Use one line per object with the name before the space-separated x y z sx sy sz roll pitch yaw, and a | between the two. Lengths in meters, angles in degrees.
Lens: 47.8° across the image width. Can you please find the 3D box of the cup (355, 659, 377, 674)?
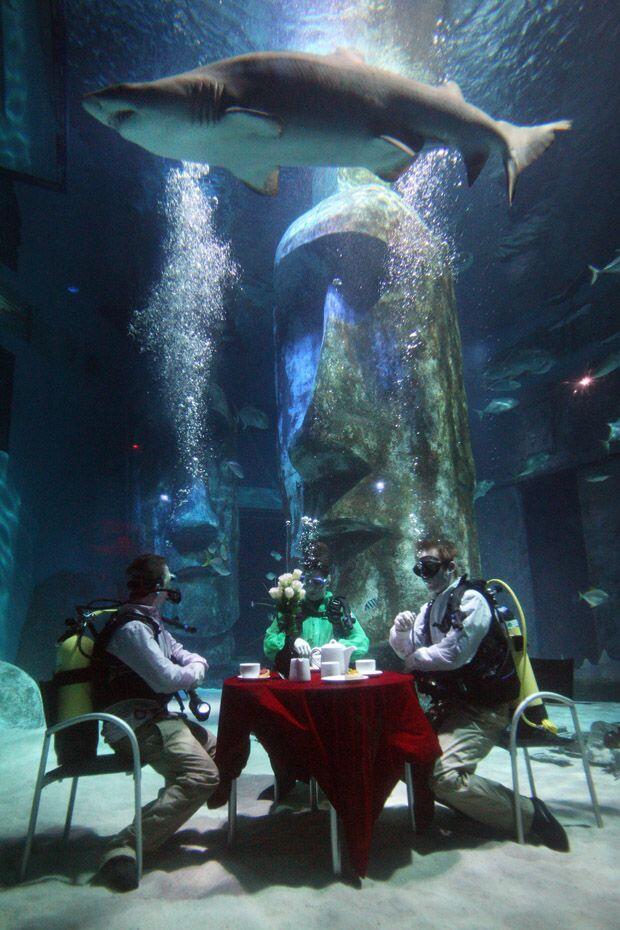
cup | 0.341 1.240 4.311 0.127 0.081 0.105 -3 -10 7

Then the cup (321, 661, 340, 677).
cup | 0.115 1.175 4.036 0.088 0.062 0.087 0 -10 0

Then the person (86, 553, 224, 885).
person | -0.827 1.402 4.003 0.759 1.619 0.808 0 8 -35

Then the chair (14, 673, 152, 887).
chair | -1.324 1.764 4.112 0.640 0.966 1.416 3 -13 -20

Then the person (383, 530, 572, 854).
person | 0.969 1.244 4.461 1.076 1.597 1.077 7 6 34

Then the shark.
shark | 0.113 -1.899 3.914 2.700 0.800 0.608 0 -9 -5

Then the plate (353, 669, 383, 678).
plate | 0.338 1.257 4.209 0.108 0.015 0.106 2 -7 -16

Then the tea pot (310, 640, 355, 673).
tea pot | 0.129 1.269 4.687 0.391 0.270 0.245 -2 -11 0

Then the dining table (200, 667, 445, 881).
dining table | 0.068 1.727 4.223 1.340 1.000 1.316 -5 -15 14

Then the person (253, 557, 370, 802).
person | -0.016 1.600 5.401 0.901 1.714 0.869 3 4 -19

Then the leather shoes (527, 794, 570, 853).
leather shoes | 1.342 2.044 3.960 0.135 0.219 0.092 4 -51 -3

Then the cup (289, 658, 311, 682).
cup | -0.057 1.183 4.029 0.095 0.110 0.156 -1 -26 4

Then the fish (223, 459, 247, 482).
fish | -2.165 0.213 19.714 0.559 0.472 0.203 23 -54 -38
